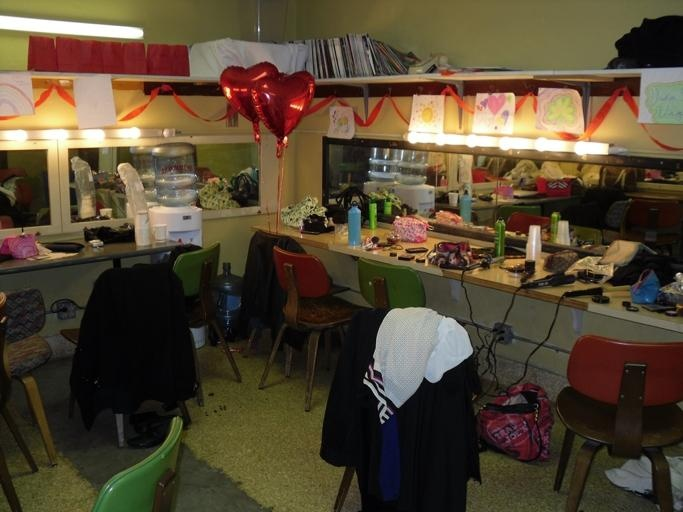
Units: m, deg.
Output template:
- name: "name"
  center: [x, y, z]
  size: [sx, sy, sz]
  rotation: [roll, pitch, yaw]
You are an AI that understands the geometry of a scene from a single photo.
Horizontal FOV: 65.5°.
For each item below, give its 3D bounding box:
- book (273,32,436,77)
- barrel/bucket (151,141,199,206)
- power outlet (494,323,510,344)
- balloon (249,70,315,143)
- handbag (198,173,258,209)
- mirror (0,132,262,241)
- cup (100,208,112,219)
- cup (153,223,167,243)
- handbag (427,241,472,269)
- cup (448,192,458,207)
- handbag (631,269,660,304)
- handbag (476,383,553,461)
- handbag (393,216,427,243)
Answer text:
- name: "book"
  center: [0.083, -1.524, 4.050]
  size: [1.002, 0.306, 0.130]
  rotation: [10, 16, 35]
- name: "barrel/bucket"
  center: [-1.406, -0.685, 4.513]
  size: [0.349, 0.530, 0.330]
  rotation: [0, 14, 0]
- name: "power outlet"
  center: [1.139, 0.548, 3.761]
  size: [0.076, 0.134, 0.148]
  rotation: [-3, 4, -36]
- name: "balloon"
  center: [-0.448, -1.117, 4.010]
  size: [0.480, 0.484, 0.315]
  rotation: [-15, 33, -28]
- name: "handbag"
  center: [-1.000, -0.583, 4.781]
  size: [0.294, 0.170, 0.419]
  rotation: [6, 9, 40]
- name: "mirror"
  center: [-1.662, -0.597, 4.257]
  size: [1.811, 0.770, 0.115]
  rotation: [-8, 15, -33]
- name: "cup"
  center: [-1.876, -0.339, 4.235]
  size: [0.065, 0.063, 0.084]
  rotation: [1, 1, 26]
- name: "cup"
  center: [-1.395, -0.173, 4.091]
  size: [0.134, 0.141, 0.108]
  rotation: [-6, 16, -31]
- name: "handbag"
  center: [0.690, -0.003, 3.421]
  size: [0.176, 0.077, 0.222]
  rotation: [-2, 7, -22]
- name: "cup"
  center: [0.841, -0.424, 3.982]
  size: [0.065, 0.097, 0.099]
  rotation: [2, 5, 33]
- name: "handbag"
  center: [1.639, 0.168, 2.859]
  size: [0.161, 0.167, 0.114]
  rotation: [-15, 12, 10]
- name: "handbag"
  center: [1.041, 0.989, 3.162]
  size: [0.404, 0.397, 0.384]
  rotation: [-1, 14, 15]
- name: "handbag"
  center: [0.521, -0.197, 4.014]
  size: [0.210, 0.149, 0.209]
  rotation: [-4, 8, -32]
